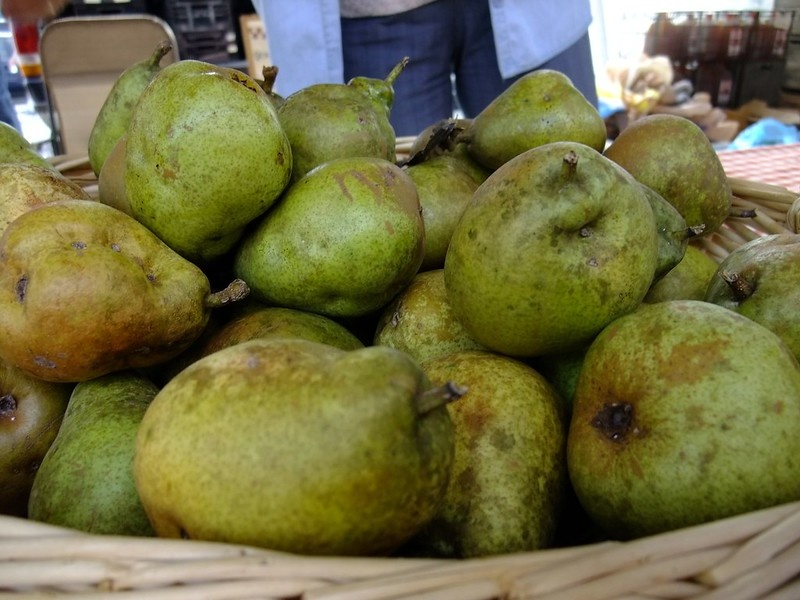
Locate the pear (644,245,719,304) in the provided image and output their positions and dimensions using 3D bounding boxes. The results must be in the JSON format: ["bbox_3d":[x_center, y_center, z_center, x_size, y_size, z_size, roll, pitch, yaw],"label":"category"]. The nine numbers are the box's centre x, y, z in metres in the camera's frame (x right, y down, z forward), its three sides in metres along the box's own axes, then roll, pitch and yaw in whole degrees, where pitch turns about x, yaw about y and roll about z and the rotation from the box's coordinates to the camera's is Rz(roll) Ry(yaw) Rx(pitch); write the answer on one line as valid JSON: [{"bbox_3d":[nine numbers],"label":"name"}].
[{"bbox_3d":[0.633,-0.043,1.767,0.156,0.104,0.127,-13,-5,-12],"label":"pear"}]
